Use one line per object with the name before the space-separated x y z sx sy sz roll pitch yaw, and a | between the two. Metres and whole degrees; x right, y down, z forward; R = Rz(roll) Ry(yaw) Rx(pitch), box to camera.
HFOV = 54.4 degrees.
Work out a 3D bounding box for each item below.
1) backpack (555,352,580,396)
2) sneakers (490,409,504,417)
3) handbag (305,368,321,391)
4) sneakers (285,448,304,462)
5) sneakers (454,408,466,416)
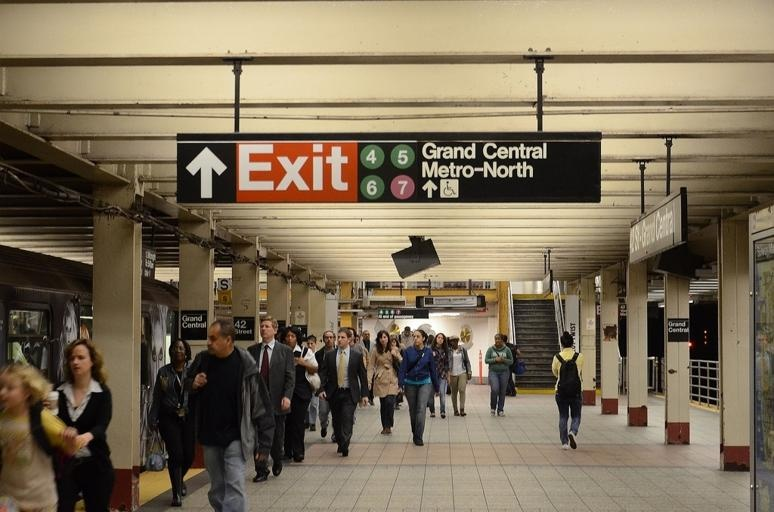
backpack | 3.365 2.197 13.915 0.464 0.830 0.445 -3 1 -4
sneakers | 2.890 4.090 19.706 0.176 0.161 0.440 1 -6 -21
handbag | -1.265 2.056 12.573 0.163 0.245 0.314 -25 18 -14
sneakers | -1.636 3.393 12.951 0.425 0.203 0.218 -3 -9 24
sneakers | 1.867 4.051 19.580 0.354 0.169 0.124 -8 -10 39
